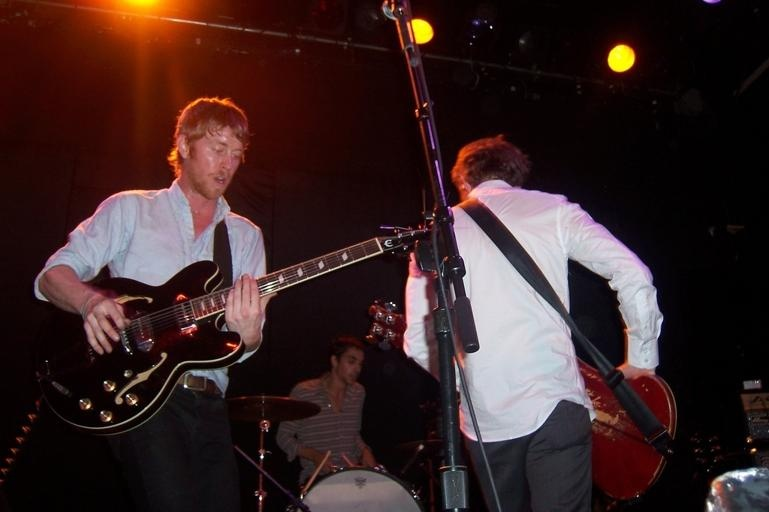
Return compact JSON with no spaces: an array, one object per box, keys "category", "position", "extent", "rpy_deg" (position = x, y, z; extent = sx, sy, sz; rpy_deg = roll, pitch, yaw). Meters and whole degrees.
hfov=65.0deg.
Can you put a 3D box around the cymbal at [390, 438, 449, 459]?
[{"category":"cymbal","position":[0.386,2.023,6.442],"extent":[0.499,0.031,0.469],"rpy_deg":[18,-35,-30]}]

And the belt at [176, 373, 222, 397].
[{"category":"belt","position":[-1.241,0.839,3.976],"extent":[0.223,0.053,0.133],"rpy_deg":[13,-12,-3]}]
